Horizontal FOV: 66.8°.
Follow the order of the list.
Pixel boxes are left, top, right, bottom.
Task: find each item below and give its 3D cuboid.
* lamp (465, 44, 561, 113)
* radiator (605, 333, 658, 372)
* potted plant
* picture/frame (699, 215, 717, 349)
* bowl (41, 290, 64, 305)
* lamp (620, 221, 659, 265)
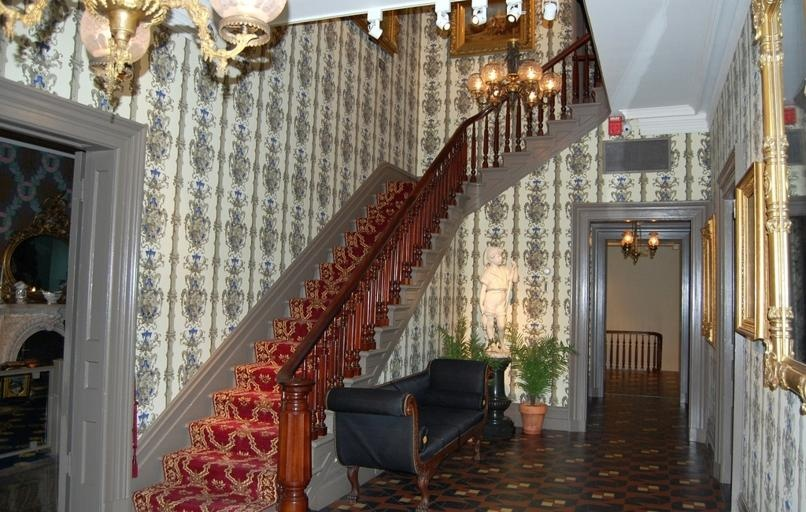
[{"bbox_3d":[1.556,-2.454,8.601,0.997,0.738,1.115,0,2,-1],"label":"lamp"},{"bbox_3d":[5.939,2.525,16.042,1.951,1.103,0.116,5,-10,-16],"label":"radiator"},{"bbox_3d":[2.089,1.948,9.535,0.886,1.378,0.652,-1,3,-34],"label":"potted plant"},{"bbox_3d":[4.124,0.320,8.266,0.177,1.690,1.495,2,3,26],"label":"picture/frame"},{"bbox_3d":[-5.316,0.642,9.344,0.171,0.175,0.255,2,-4,8],"label":"bowl"},{"bbox_3d":[5.380,-0.311,13.898,0.723,0.965,0.712,-1,-6,19],"label":"lamp"}]
